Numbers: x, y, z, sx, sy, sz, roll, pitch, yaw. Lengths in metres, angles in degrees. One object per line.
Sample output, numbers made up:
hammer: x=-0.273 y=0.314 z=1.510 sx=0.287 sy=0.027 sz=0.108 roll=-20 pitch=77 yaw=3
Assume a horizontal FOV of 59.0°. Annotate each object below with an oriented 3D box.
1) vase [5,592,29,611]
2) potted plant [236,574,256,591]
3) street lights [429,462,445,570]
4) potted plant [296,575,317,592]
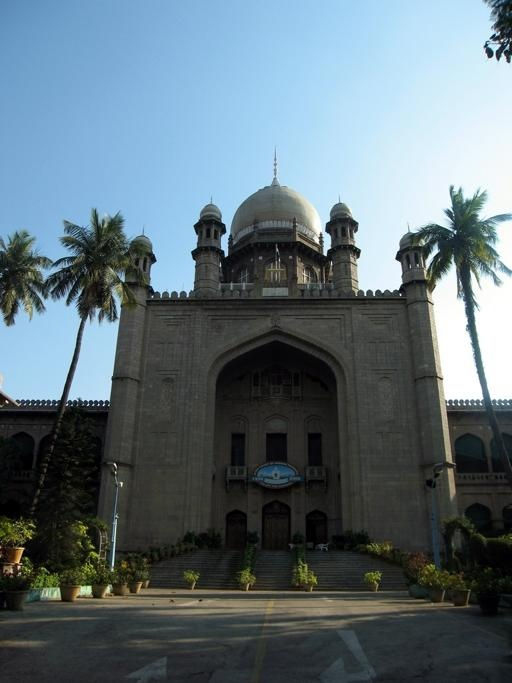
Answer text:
vase: x=-4.865 y=5.239 z=9.144 sx=0.393 sy=0.333 sz=0.488 roll=8 pitch=-23 yaw=-24
potted plant: x=-0.331 y=10.300 z=19.387 sx=0.736 sy=0.806 sz=0.807 roll=-14 pitch=-26 yaw=25
street lights: x=6.367 y=6.377 z=16.395 sx=0.513 sy=3.151 sz=0.913 roll=-2 pitch=0 yaw=32
potted plant: x=2.104 y=10.010 z=18.886 sx=0.740 sy=0.734 sz=0.815 roll=-1 pitch=-39 yaw=7
